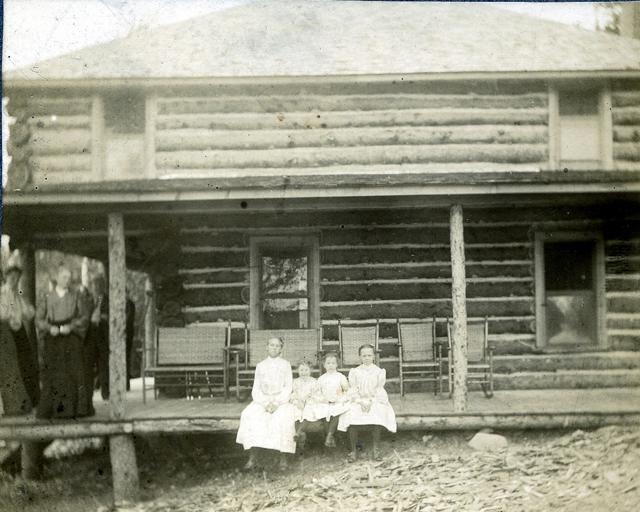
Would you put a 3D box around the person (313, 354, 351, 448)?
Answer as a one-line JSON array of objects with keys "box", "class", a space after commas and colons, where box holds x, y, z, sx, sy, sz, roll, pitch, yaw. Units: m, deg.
[{"box": [0.166, 1.893, 15.145, 0.392, 1.267, 0.555, 2, -34, 2], "class": "person"}]

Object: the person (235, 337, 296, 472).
[{"box": [-0.707, 1.957, 15.126, 0.761, 1.730, 0.538, -1, -4, -3], "class": "person"}]

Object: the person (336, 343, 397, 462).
[{"box": [0.641, 1.950, 15.157, 0.783, 1.528, 0.401, -2, -4, 3], "class": "person"}]

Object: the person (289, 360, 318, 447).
[{"box": [-0.239, 1.944, 15.071, 0.335, 1.087, 0.496, 6, -24, -5], "class": "person"}]
